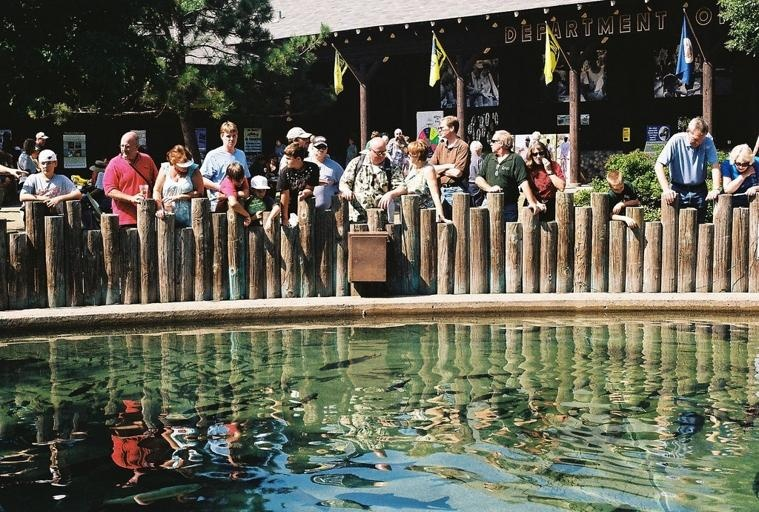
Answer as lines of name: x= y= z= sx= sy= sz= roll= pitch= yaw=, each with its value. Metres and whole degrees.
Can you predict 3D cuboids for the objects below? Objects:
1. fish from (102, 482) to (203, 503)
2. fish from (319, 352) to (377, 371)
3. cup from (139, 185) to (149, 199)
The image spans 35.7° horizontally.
fish: x=-2.149 y=2.314 z=11.360 sx=0.882 sy=0.172 sz=0.177 roll=-4 pitch=2 yaw=-11
fish: x=-0.345 y=1.249 z=13.788 sx=0.762 sy=0.051 sz=0.193 roll=-13 pitch=23 yaw=-25
cup: x=-3.140 y=-0.880 z=15.816 sx=0.107 sy=0.164 sz=0.204 roll=-4 pitch=2 yaw=-11
